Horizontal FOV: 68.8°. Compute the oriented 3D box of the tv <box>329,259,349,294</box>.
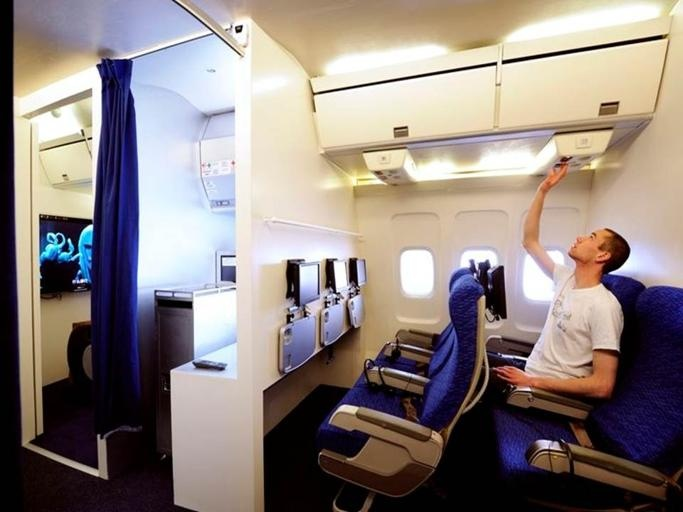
[{"bbox_3d":[-0.030,0.192,4.715,0.103,0.286,0.330,-1,2,11],"label":"tv"}]

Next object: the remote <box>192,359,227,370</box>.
[{"bbox_3d":[-1.001,0.837,3.821,0.188,0.046,0.106,10,-1,4],"label":"remote"}]

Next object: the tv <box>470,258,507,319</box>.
[{"bbox_3d":[1.334,0.275,4.433,0.163,0.584,0.419,0,0,5],"label":"tv"}]

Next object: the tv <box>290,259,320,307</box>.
[{"bbox_3d":[-0.288,0.220,4.113,0.072,0.346,0.359,3,4,24],"label":"tv"}]

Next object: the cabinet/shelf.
[{"bbox_3d":[-1.245,1.004,4.298,0.665,1.447,0.322,0,4,-22],"label":"cabinet/shelf"}]
